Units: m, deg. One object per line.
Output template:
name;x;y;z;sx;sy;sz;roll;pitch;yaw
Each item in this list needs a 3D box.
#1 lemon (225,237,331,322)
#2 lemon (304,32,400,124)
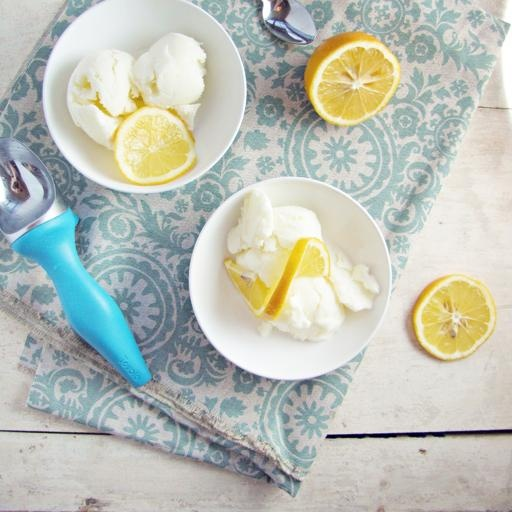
lemon;0.047;0.061;1.391;0.249;0.149;0.168;-5;74;3
lemon;0.226;-0.427;1.470;0.224;0.223;0.138;-11;34;-10
